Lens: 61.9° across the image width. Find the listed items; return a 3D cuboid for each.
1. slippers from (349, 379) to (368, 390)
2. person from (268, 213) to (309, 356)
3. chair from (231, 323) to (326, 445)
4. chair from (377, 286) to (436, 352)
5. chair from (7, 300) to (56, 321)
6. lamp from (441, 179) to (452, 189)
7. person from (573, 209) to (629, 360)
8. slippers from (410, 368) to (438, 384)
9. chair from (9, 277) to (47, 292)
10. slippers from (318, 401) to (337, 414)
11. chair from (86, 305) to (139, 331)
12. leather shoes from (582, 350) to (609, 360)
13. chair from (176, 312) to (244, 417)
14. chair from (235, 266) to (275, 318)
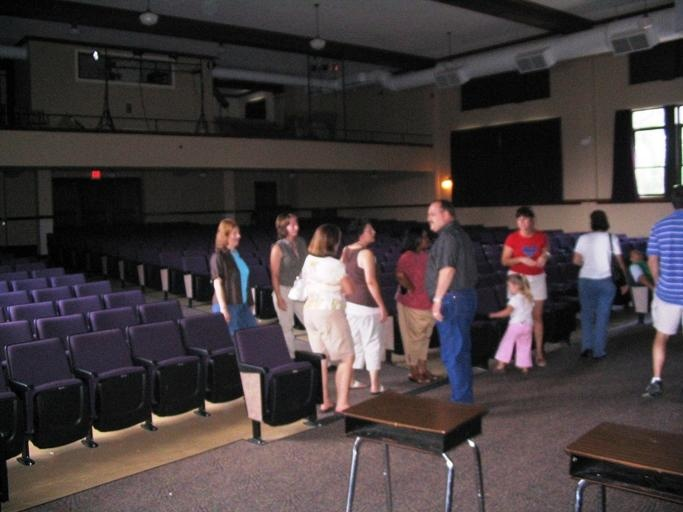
[{"bbox_3d":[0.187,1.332,5.947,0.219,0.091,0.073,-8,9,-43],"label":"slippers"},{"bbox_3d":[-0.535,0.400,6.339,0.543,1.810,0.469,-12,24,-29],"label":"person"},{"bbox_3d":[-0.569,1.051,5.266,0.812,1.308,0.935,-5,-3,40],"label":"chair"},{"bbox_3d":[0.650,0.760,6.986,0.636,0.522,0.670,-1,-1,34],"label":"chair"},{"bbox_3d":[-3.608,0.627,6.583,0.395,0.187,0.296,-5,6,-23],"label":"chair"},{"bbox_3d":[3.676,-2.488,19.735,0.300,0.225,0.298,0,-5,-30],"label":"lamp"},{"bbox_3d":[3.063,0.323,6.687,0.556,1.750,0.484,2,7,34],"label":"person"},{"bbox_3d":[0.875,1.273,6.046,0.254,0.108,0.146,-6,-3,29],"label":"slippers"},{"bbox_3d":[-4.485,0.398,8.136,0.328,0.192,0.215,-1,7,-45],"label":"chair"},{"bbox_3d":[-0.129,1.394,5.336,0.070,0.133,0.216,3,7,30],"label":"slippers"},{"bbox_3d":[-2.458,0.669,6.079,0.408,0.298,0.298,-2,-18,-41],"label":"chair"},{"bbox_3d":[2.983,1.165,6.663,0.315,0.148,0.114,-5,0,14],"label":"leather shoes"},{"bbox_3d":[-1.253,1.008,5.570,0.750,1.017,0.731,-1,2,43],"label":"chair"},{"bbox_3d":[-1.545,0.603,9.203,0.680,0.955,0.800,0,-1,-19],"label":"chair"}]
